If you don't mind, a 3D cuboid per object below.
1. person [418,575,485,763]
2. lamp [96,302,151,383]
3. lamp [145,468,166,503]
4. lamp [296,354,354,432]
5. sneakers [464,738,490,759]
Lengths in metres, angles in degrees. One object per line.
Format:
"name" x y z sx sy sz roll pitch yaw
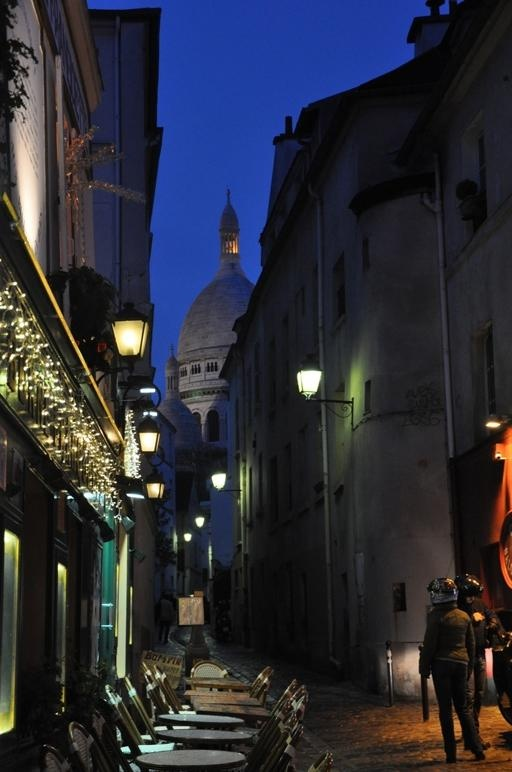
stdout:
"person" 1.639 2.376 9.754 0.500 1.528 0.542 -1 -14 -9
"lamp" -1.308 -0.407 11.283 0.527 0.935 0.437 -3 2 -3
"lamp" -1.796 1.745 20.698 0.301 0.675 1.232 -2 -17 -6
"lamp" 1.067 0.040 17.605 0.768 1.385 0.422 2 8 5
"sneakers" 1.860 3.065 9.722 0.171 0.154 0.275 9 -20 1
